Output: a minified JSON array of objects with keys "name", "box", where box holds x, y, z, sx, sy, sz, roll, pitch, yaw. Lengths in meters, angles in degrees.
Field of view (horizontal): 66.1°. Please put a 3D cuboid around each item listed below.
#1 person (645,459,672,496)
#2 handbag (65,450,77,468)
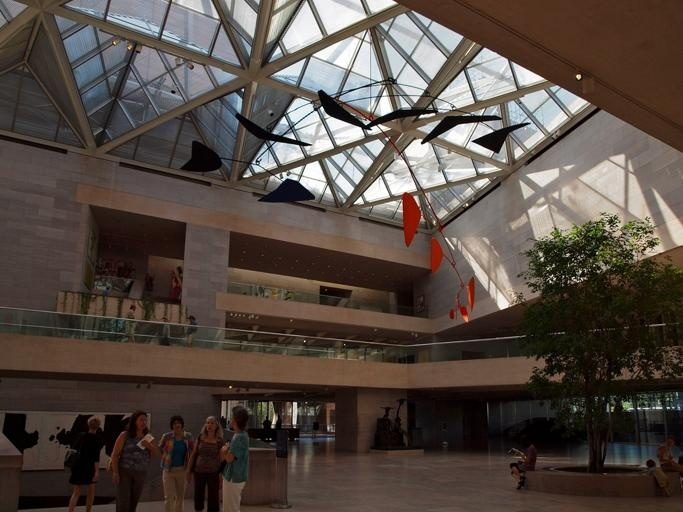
[{"name":"person","box":[8.333,5.830,13.762,0.444,0.886,1.049,-10,-22,28]},{"name":"handbag","box":[-5.129,3.837,9.895,0.225,0.307,0.107,5,-7,41]}]
